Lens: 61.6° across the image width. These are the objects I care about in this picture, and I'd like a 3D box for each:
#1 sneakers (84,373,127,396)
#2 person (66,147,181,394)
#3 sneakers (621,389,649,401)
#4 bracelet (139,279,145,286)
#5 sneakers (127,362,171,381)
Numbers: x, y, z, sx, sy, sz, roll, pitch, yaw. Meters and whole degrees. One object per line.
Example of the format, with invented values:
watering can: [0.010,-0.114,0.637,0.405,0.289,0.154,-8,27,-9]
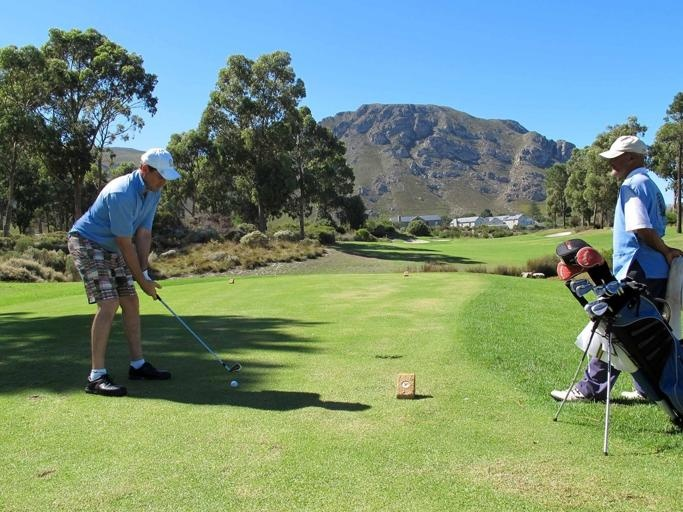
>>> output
sneakers: [-2.204,1.207,5.393,0.367,0.168,0.237,3,7,25]
person: [-2.201,0.082,5.854,1.052,2.340,1.011,-5,8,-42]
sneakers: [2.797,1.318,5.489,0.080,0.097,0.219,7,-4,-27]
bracelet: [-2.034,0.273,5.876,0.068,0.062,0.018,-45,-2,-7]
sneakers: [-1.975,1.195,5.965,0.428,0.203,0.179,2,-6,-4]
